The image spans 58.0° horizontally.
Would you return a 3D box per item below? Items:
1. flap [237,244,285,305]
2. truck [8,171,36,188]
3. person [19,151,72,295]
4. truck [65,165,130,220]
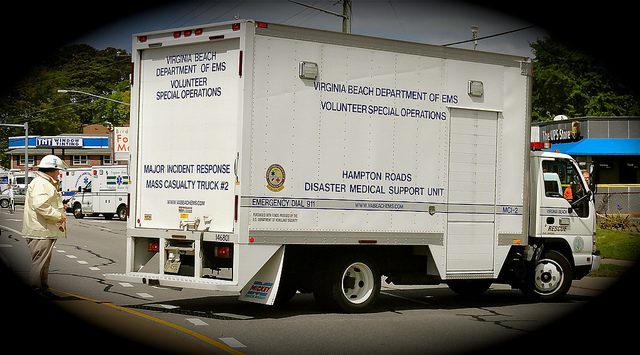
[{"bbox_3d":[-1.343,2.212,13.300,0.952,1.250,0.803,0,-1,8],"label":"flap"},{"bbox_3d":[-29.157,0.180,55.819,1.836,1.595,2.892,0,5,-21],"label":"truck"},{"bbox_3d":[-6.617,1.111,13.833,0.893,3.247,0.708,2,1,-23],"label":"person"},{"bbox_3d":[-15.564,1.080,39.469,2.384,3.174,6.654,-6,-3,21],"label":"truck"}]
